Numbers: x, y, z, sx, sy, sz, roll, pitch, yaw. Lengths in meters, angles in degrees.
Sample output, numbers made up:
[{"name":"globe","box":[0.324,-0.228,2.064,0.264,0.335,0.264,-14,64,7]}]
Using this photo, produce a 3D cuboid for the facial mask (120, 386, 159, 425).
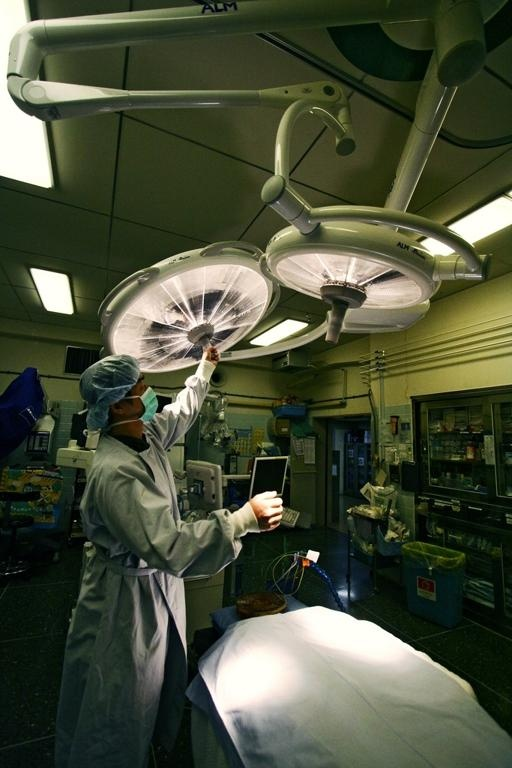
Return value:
[{"name":"facial mask","box":[-0.445,0.071,2.020,0.113,0.131,0.088,20,-17,45]}]

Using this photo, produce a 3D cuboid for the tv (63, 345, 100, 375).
[{"name":"tv","box":[-1.555,-0.220,4.608,0.333,0.322,0.038,7,-6,-43]}]
